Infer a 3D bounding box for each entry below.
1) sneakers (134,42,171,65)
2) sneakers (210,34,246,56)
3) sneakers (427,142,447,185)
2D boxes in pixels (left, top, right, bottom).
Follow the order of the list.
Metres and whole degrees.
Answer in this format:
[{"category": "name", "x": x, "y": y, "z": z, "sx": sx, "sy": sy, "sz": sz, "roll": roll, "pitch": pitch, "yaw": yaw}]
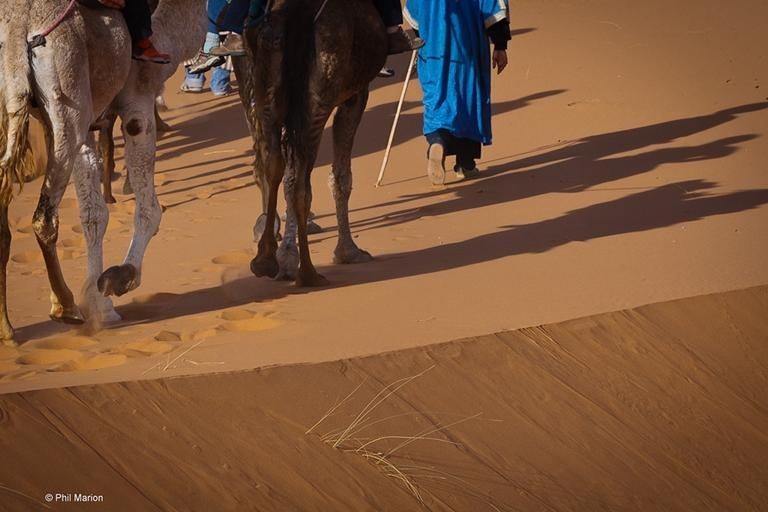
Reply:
[{"category": "sneakers", "x": -1.934, "y": -1.731, "z": 7.993, "sx": 0.338, "sy": 0.130, "sz": 0.115, "roll": 3, "pitch": 8, "yaw": -31}, {"category": "sneakers", "x": -1.438, "y": -1.939, "z": 8.622, "sx": 0.410, "sy": 0.245, "sz": 0.156, "roll": 6, "pitch": 8, "yaw": 27}, {"category": "sneakers", "x": 0.632, "y": -1.104, "z": 11.266, "sx": 0.194, "sy": 0.508, "sz": 0.217, "roll": -1, "pitch": -8, "yaw": 6}]
